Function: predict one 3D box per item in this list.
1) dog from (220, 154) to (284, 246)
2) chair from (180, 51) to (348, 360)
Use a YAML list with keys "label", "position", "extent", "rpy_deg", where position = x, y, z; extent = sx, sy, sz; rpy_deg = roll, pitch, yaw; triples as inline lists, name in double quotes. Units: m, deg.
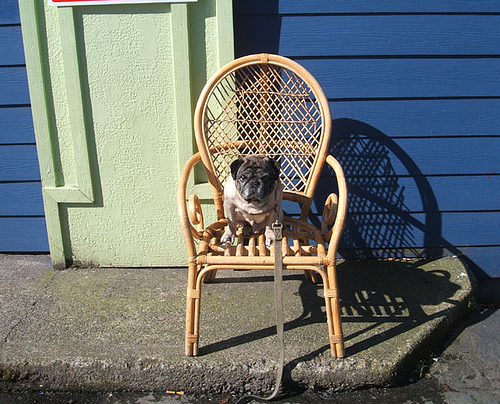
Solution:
- label: "dog"
  position: [0.022, -0.051, 2.867]
  extent: [0.366, 0.549, 0.446]
  rpy_deg: [4, 23, 8]
- label: "chair"
  position: [0.066, -0.086, 2.985]
  extent: [1.008, 1.731, 1.218]
  rpy_deg: [2, 17, -4]
